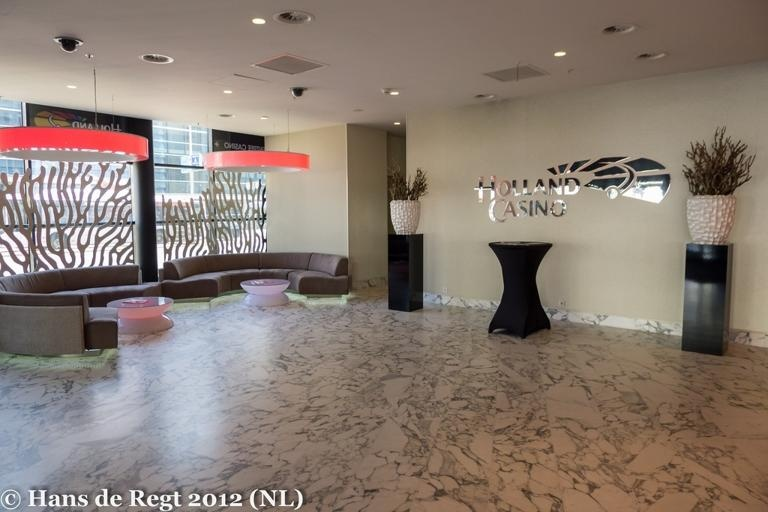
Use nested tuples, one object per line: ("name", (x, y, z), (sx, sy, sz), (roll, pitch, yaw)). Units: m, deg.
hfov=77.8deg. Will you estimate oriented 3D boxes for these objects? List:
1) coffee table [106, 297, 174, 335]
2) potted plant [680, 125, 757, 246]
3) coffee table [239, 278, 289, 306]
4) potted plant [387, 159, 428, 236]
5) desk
("coffee table", (-4.345, 1.082, 8.616), (1.049, 0.374, 1.029), (3, 6, 41))
("potted plant", (5.054, -1.089, 7.301), (0.914, 1.807, 0.999), (7, 15, 34))
("coffee table", (-2.539, 0.805, 10.253), (0.955, 0.502, 0.648), (-3, 11, -8))
("potted plant", (0.491, -1.124, 9.883), (0.745, 1.381, 1.213), (1, 12, 12))
("desk", (2.358, 0.477, 8.269), (1.119, 1.461, 1.116), (-16, 16, -41))
